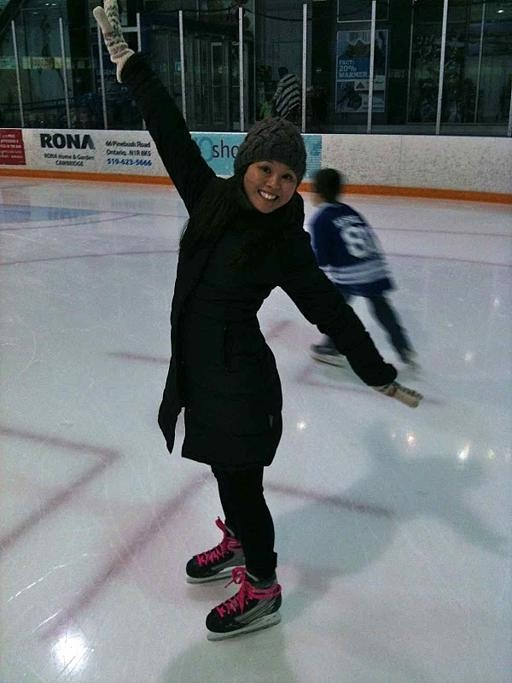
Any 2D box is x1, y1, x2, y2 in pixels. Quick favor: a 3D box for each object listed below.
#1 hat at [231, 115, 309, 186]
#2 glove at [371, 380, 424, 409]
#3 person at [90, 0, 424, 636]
[{"bbox_3d":[0.030,-0.334,0.982,0.122,0.111,0.123,14,13,-16],"label":"hat"},{"bbox_3d":[0.280,0.103,1.076,0.101,0.023,0.056,22,13,42],"label":"glove"},{"bbox_3d":[-0.023,-0.019,1.111,0.681,1.326,0.339,12,18,35],"label":"person"}]
